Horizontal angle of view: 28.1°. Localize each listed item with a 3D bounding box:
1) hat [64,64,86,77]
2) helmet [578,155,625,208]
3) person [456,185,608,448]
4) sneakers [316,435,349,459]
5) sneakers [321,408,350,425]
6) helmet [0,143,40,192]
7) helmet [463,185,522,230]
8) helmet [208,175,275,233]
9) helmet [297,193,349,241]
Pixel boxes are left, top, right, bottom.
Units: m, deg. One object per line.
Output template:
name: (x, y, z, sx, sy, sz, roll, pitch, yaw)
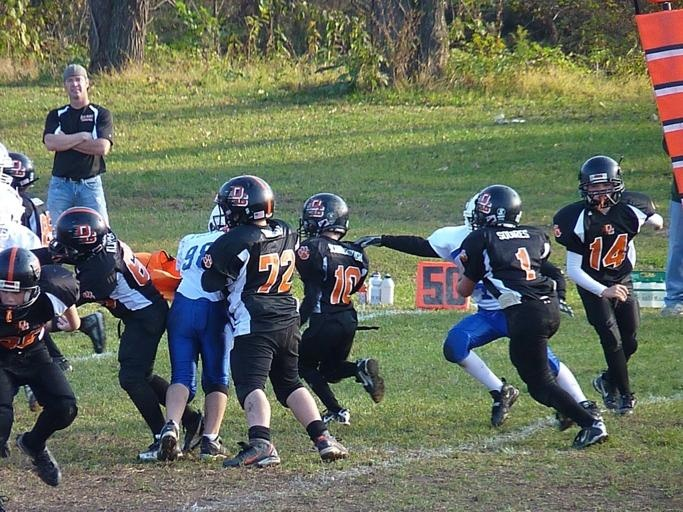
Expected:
hat: (-3.413, -2.398, 17.437, 0.271, 0.201, 0.380, -2, 6, -11)
helmet: (2.910, -0.767, 15.424, 0.451, 0.492, 0.610, -4, -15, 12)
person: (2.024, 0.655, 14.908, 1.489, 2.855, 0.609, 0, 6, 12)
sneakers: (-0.102, 2.098, 14.498, 0.231, 0.172, 0.446, 42, 5, 29)
sneakers: (-0.048, 1.833, 15.380, 0.369, 0.157, 0.135, 3, 0, 22)
helmet: (-3.808, -0.998, 16.145, 0.530, 0.407, 0.387, 1, 16, -6)
helmet: (1.706, -0.570, 15.162, 0.416, 0.456, 0.574, -10, 19, -36)
helmet: (-1.110, -0.582, 14.698, 0.618, 0.496, 0.498, 8, 12, 23)
helmet: (-0.214, -0.493, 15.632, 0.655, 0.524, 0.486, 0, -1, 26)
